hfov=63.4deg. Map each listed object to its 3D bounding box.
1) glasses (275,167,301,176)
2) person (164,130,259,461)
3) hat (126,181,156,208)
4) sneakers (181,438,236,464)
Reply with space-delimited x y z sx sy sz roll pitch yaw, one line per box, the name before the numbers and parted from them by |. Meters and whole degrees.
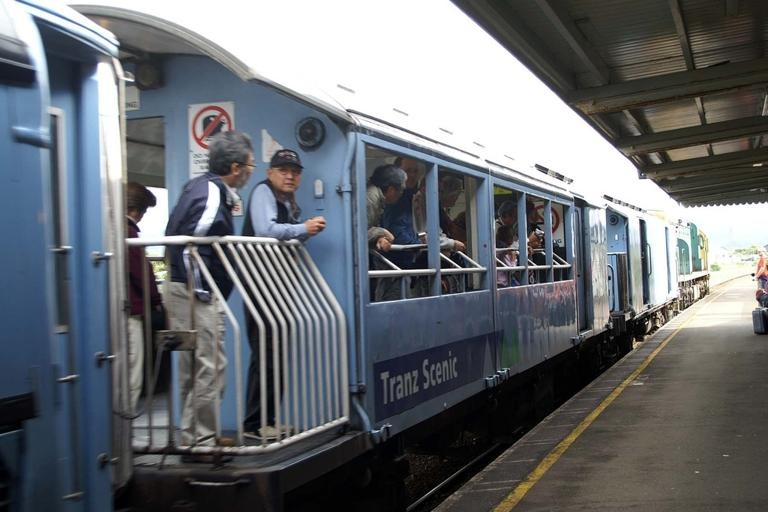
glasses | -0.784 -0.695 5.083 0.197 0.053 0.054 -2 -1 -21
person | -1.300 0.219 4.654 0.665 1.723 0.403 -2 -1 -22
hat | -2.176 -0.525 5.550 0.202 0.264 0.265 3 -10 -7
sneakers | -1.305 1.416 4.586 0.305 0.095 0.218 -1 -5 13
